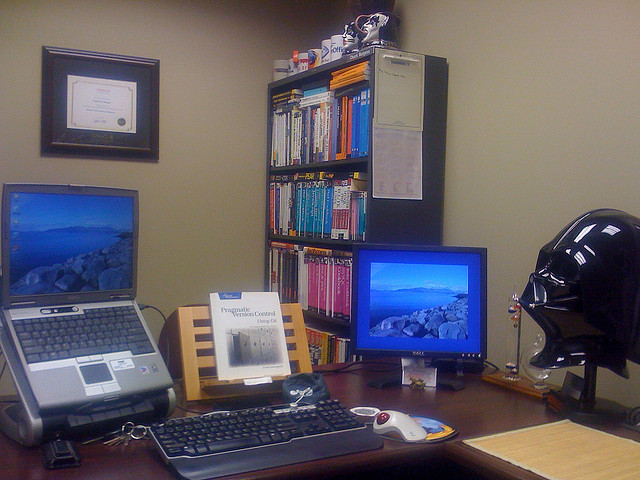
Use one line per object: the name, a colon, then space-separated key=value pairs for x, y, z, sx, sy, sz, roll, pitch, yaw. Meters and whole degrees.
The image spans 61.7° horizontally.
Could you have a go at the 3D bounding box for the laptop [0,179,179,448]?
laptop: x=-0.699 y=0.199 z=1.620 sx=0.449 sy=0.719 sz=0.337 roll=-1 pitch=6 yaw=-31

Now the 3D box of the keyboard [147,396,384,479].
keyboard: x=-0.149 y=0.555 z=1.512 sx=0.622 sy=0.085 sz=0.254 roll=0 pitch=5 yaw=-23

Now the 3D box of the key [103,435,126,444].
key: x=-0.575 y=0.561 z=1.507 sx=0.058 sy=0.014 sz=0.018 roll=1 pitch=5 yaw=-18

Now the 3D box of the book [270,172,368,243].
book: x=0.015 y=-0.189 z=3.138 sx=0.219 sy=0.341 sz=0.688 roll=-2 pitch=7 yaw=-41

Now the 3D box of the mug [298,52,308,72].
mug: x=-0.096 y=-1.043 z=3.152 sx=0.050 sy=0.125 sz=0.142 roll=2 pitch=5 yaw=-9

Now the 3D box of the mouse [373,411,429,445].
mouse: x=0.250 y=0.541 z=1.585 sx=0.121 sy=0.041 sz=0.078 roll=8 pitch=3 yaw=33

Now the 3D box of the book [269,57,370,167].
book: x=0.017 y=-0.712 z=2.984 sx=0.251 sy=0.714 sz=0.770 roll=2 pitch=0 yaw=-34

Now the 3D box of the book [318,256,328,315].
book: x=0.016 y=0.253 z=2.995 sx=0.020 sy=0.321 sz=0.086 roll=0 pitch=5 yaw=-26

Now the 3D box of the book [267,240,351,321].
book: x=-0.151 y=0.291 z=3.140 sx=0.228 sy=0.438 sz=0.808 roll=-6 pitch=-13 yaw=35

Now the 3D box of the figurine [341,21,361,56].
figurine: x=0.167 y=-1.060 z=2.828 sx=0.101 sy=0.178 sz=0.124 roll=2 pitch=13 yaw=-28

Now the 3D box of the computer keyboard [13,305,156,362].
computer keyboard: x=-0.715 y=0.285 z=1.614 sx=0.263 sy=0.161 sz=0.026 roll=-5 pitch=-35 yaw=-34

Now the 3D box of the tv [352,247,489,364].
tv: x=0.387 y=0.246 z=2.048 sx=0.432 sy=0.364 sz=0.035 roll=2 pitch=-5 yaw=-2

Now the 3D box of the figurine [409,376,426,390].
figurine: x=0.362 y=0.535 z=1.985 sx=0.065 sy=0.044 sz=0.026 roll=1 pitch=-3 yaw=-11

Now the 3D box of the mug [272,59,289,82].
mug: x=-0.245 y=-1.070 z=3.381 sx=0.089 sy=0.153 sz=0.160 roll=2 pitch=5 yaw=-6

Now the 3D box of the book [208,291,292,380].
book: x=-0.242 y=0.324 z=1.860 sx=0.261 sy=0.295 sz=0.036 roll=5 pitch=-25 yaw=-31

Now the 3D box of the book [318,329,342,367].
book: x=0.058 y=0.600 z=3.027 sx=0.109 sy=0.176 sz=0.207 roll=3 pitch=5 yaw=12
